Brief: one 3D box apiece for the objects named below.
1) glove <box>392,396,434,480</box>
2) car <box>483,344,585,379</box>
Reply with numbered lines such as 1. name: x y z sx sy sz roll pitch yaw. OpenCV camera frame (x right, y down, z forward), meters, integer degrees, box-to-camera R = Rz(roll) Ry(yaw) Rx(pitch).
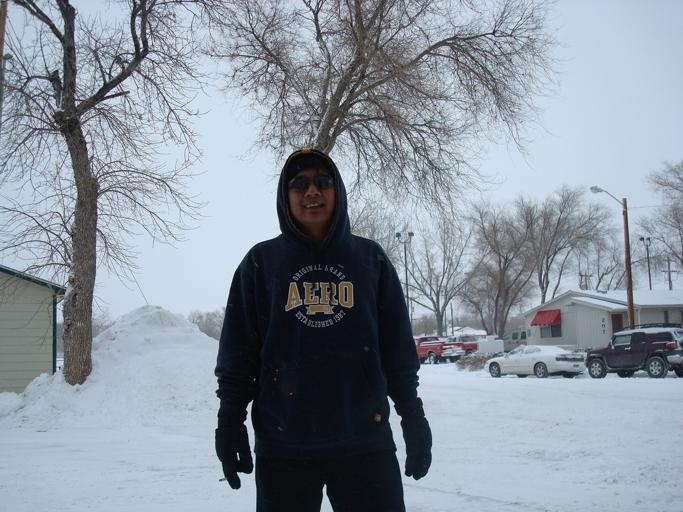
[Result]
1. glove: 0.680 1.677 5.925 0.440 0.668 0.192 -12 -7 38
2. car: 7.272 3.968 23.786 0.722 1.245 3.810 2 -5 -35
